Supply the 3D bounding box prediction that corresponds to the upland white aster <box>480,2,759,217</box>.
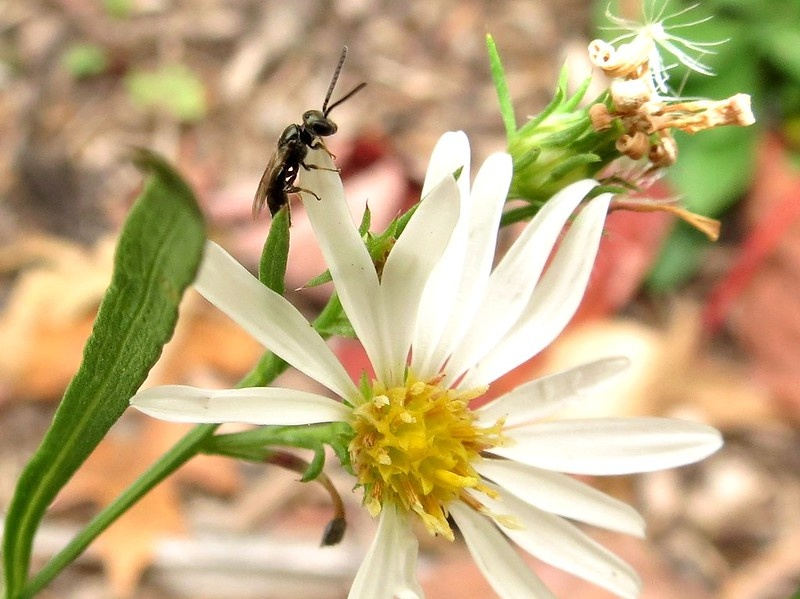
[{"bbox_3d":[0.475,-0.420,1.970,0.517,0.467,0.446,25,24,0],"label":"upland white aster"}]
